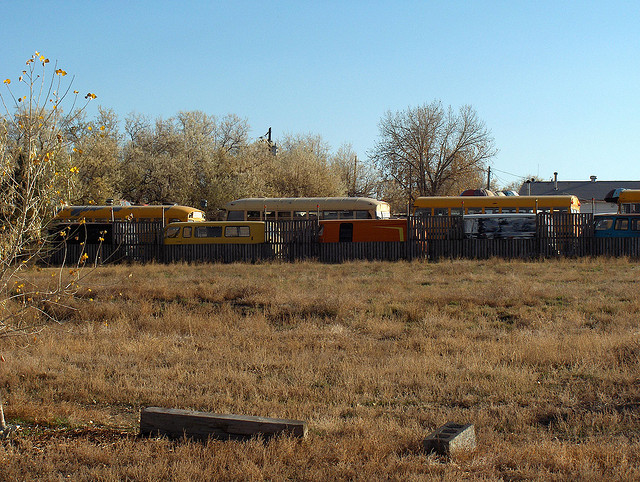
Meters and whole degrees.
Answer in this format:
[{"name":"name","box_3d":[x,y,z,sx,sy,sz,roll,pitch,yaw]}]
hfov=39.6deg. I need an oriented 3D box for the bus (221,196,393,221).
[{"name":"bus","box_3d":[-0.689,-1.422,39.065,7.043,0.975,2.161,-1,2,-7]}]
